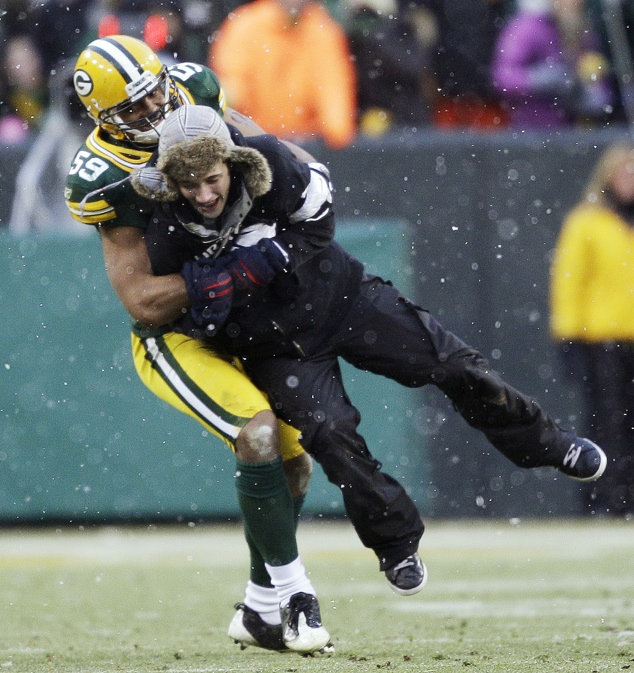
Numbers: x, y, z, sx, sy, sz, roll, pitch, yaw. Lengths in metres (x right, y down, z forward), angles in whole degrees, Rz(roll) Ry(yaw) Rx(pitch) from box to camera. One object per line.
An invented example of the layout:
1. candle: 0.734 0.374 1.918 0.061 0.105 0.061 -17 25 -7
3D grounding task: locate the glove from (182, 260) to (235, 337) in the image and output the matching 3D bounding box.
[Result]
1. glove: -0.320 -0.115 3.062 0.195 0.208 0.076 -9 25 -9

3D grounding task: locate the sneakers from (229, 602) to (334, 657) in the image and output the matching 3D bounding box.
1. sneakers: -0.133 0.931 3.341 0.182 0.174 0.480 8 -14 -37

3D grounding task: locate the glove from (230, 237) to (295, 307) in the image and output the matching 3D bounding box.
1. glove: -0.170 -0.196 3.109 0.201 0.184 0.088 -5 28 -4

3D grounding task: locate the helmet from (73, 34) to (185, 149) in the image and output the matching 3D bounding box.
1. helmet: -0.621 -0.823 3.434 0.298 0.312 0.409 -45 41 -11

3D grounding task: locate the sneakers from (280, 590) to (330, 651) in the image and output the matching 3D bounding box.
1. sneakers: -0.042 0.874 3.201 0.124 0.082 0.206 -11 29 -8

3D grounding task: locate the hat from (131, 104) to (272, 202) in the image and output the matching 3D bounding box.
1. hat: -0.357 -0.502 2.959 0.374 0.290 0.279 -20 34 -19
